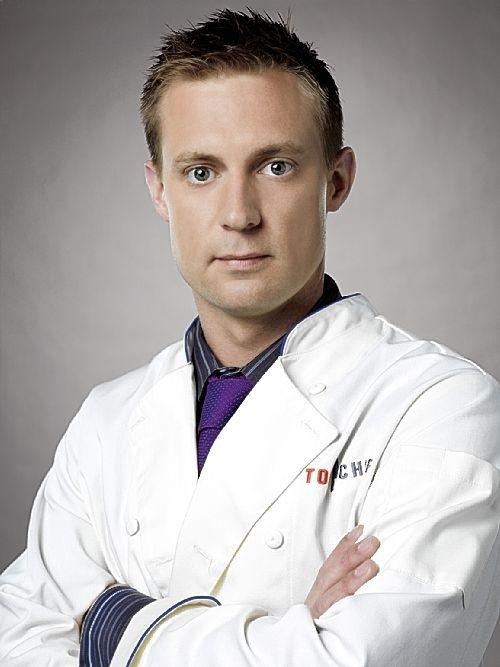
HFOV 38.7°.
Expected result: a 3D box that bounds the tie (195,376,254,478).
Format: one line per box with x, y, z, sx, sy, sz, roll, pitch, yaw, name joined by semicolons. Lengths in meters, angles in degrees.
-0.049;0.181;1.378;0.059;0.174;0.105;28;-25;-37;tie
